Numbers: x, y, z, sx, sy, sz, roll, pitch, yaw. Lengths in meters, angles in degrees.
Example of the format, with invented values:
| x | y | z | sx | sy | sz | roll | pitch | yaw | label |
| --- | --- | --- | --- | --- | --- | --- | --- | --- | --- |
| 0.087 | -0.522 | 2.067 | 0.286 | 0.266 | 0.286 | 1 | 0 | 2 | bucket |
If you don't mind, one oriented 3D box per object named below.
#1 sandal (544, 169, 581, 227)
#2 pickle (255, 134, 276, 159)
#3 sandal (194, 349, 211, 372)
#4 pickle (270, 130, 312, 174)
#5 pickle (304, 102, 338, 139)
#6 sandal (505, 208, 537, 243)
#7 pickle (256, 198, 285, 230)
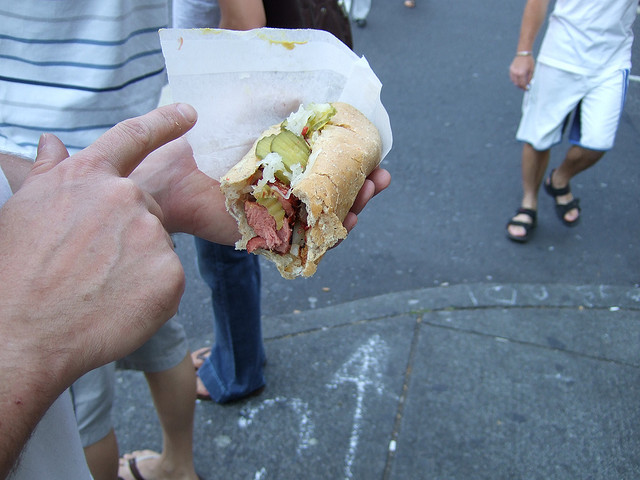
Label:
| x | y | z | sx | sy | sz | roll | pitch | yaw | label |
| --- | --- | --- | --- | --- | --- | --- | --- | --- | --- |
| 1.985 | -0.349 | 4.707 | 0.174 | 0.137 | 0.532 | -23 | 82 | 13 | sandal |
| -0.300 | -0.491 | 3.027 | 0.119 | 0.031 | 0.114 | -50 | 38 | 23 | pickle |
| -0.840 | 0.814 | 4.099 | 0.077 | 0.048 | 0.112 | 20 | 63 | 11 | sandal |
| -0.151 | -0.493 | 3.053 | 0.227 | 0.219 | 0.203 | -1 | 19 | -5 | pickle |
| 0.010 | -0.669 | 3.220 | 0.077 | 0.100 | 0.275 | 38 | 68 | 20 | pickle |
| 1.655 | -0.104 | 4.758 | 0.181 | 0.186 | 0.431 | -9 | 21 | 4 | sandal |
| -0.244 | -0.160 | 2.996 | 0.096 | 0.072 | 0.173 | -37 | 68 | -19 | pickle |
